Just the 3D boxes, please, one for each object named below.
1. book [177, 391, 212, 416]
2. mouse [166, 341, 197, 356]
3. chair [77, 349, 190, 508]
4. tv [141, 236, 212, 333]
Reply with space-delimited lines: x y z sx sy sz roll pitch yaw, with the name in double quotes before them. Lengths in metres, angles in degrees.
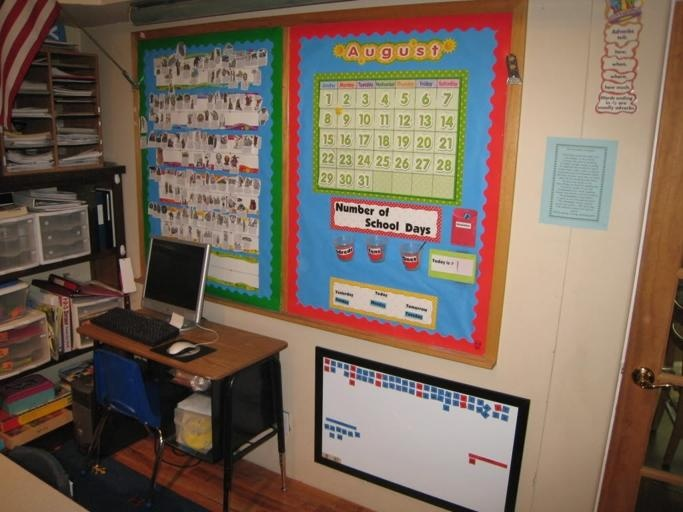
"book" -0.816 0.845 3.056 0.148 0.037 0.141 7 10 23
"mouse" -0.894 0.510 2.991 0.102 0.042 0.168 13 15 39
"chair" -1.243 1.059 3.207 0.523 0.913 0.568 17 26 20
"tv" -1.027 0.177 3.324 0.536 0.556 0.190 9 6 33
